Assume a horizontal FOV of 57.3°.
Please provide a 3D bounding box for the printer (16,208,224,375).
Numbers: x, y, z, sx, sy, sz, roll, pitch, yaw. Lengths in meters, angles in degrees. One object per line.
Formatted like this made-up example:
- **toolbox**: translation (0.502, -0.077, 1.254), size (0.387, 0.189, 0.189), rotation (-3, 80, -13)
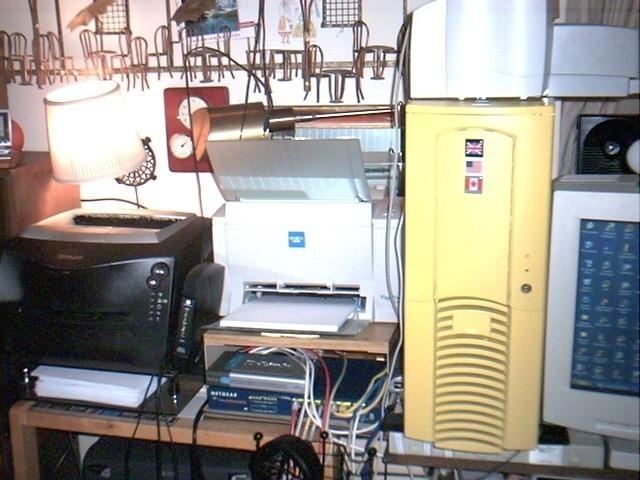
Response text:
- **printer**: translation (-0.619, 0.135, 1.902), size (0.590, 0.477, 0.431), rotation (1, 6, 10)

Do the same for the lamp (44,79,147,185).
- **lamp**: translation (-0.730, -0.344, 1.918), size (0.278, 0.382, 0.255), rotation (-6, 14, -22)

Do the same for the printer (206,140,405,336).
- **printer**: translation (-0.016, 0.033, 2.022), size (0.673, 0.695, 0.498), rotation (1, 8, 10)

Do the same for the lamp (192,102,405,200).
- **lamp**: translation (0.023, -0.374, 2.190), size (1.040, 0.297, 0.285), rotation (-2, 51, -11)

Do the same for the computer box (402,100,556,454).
- **computer box**: translation (0.432, 0.078, 1.641), size (0.380, 0.890, 0.468), rotation (1, 15, 12)
